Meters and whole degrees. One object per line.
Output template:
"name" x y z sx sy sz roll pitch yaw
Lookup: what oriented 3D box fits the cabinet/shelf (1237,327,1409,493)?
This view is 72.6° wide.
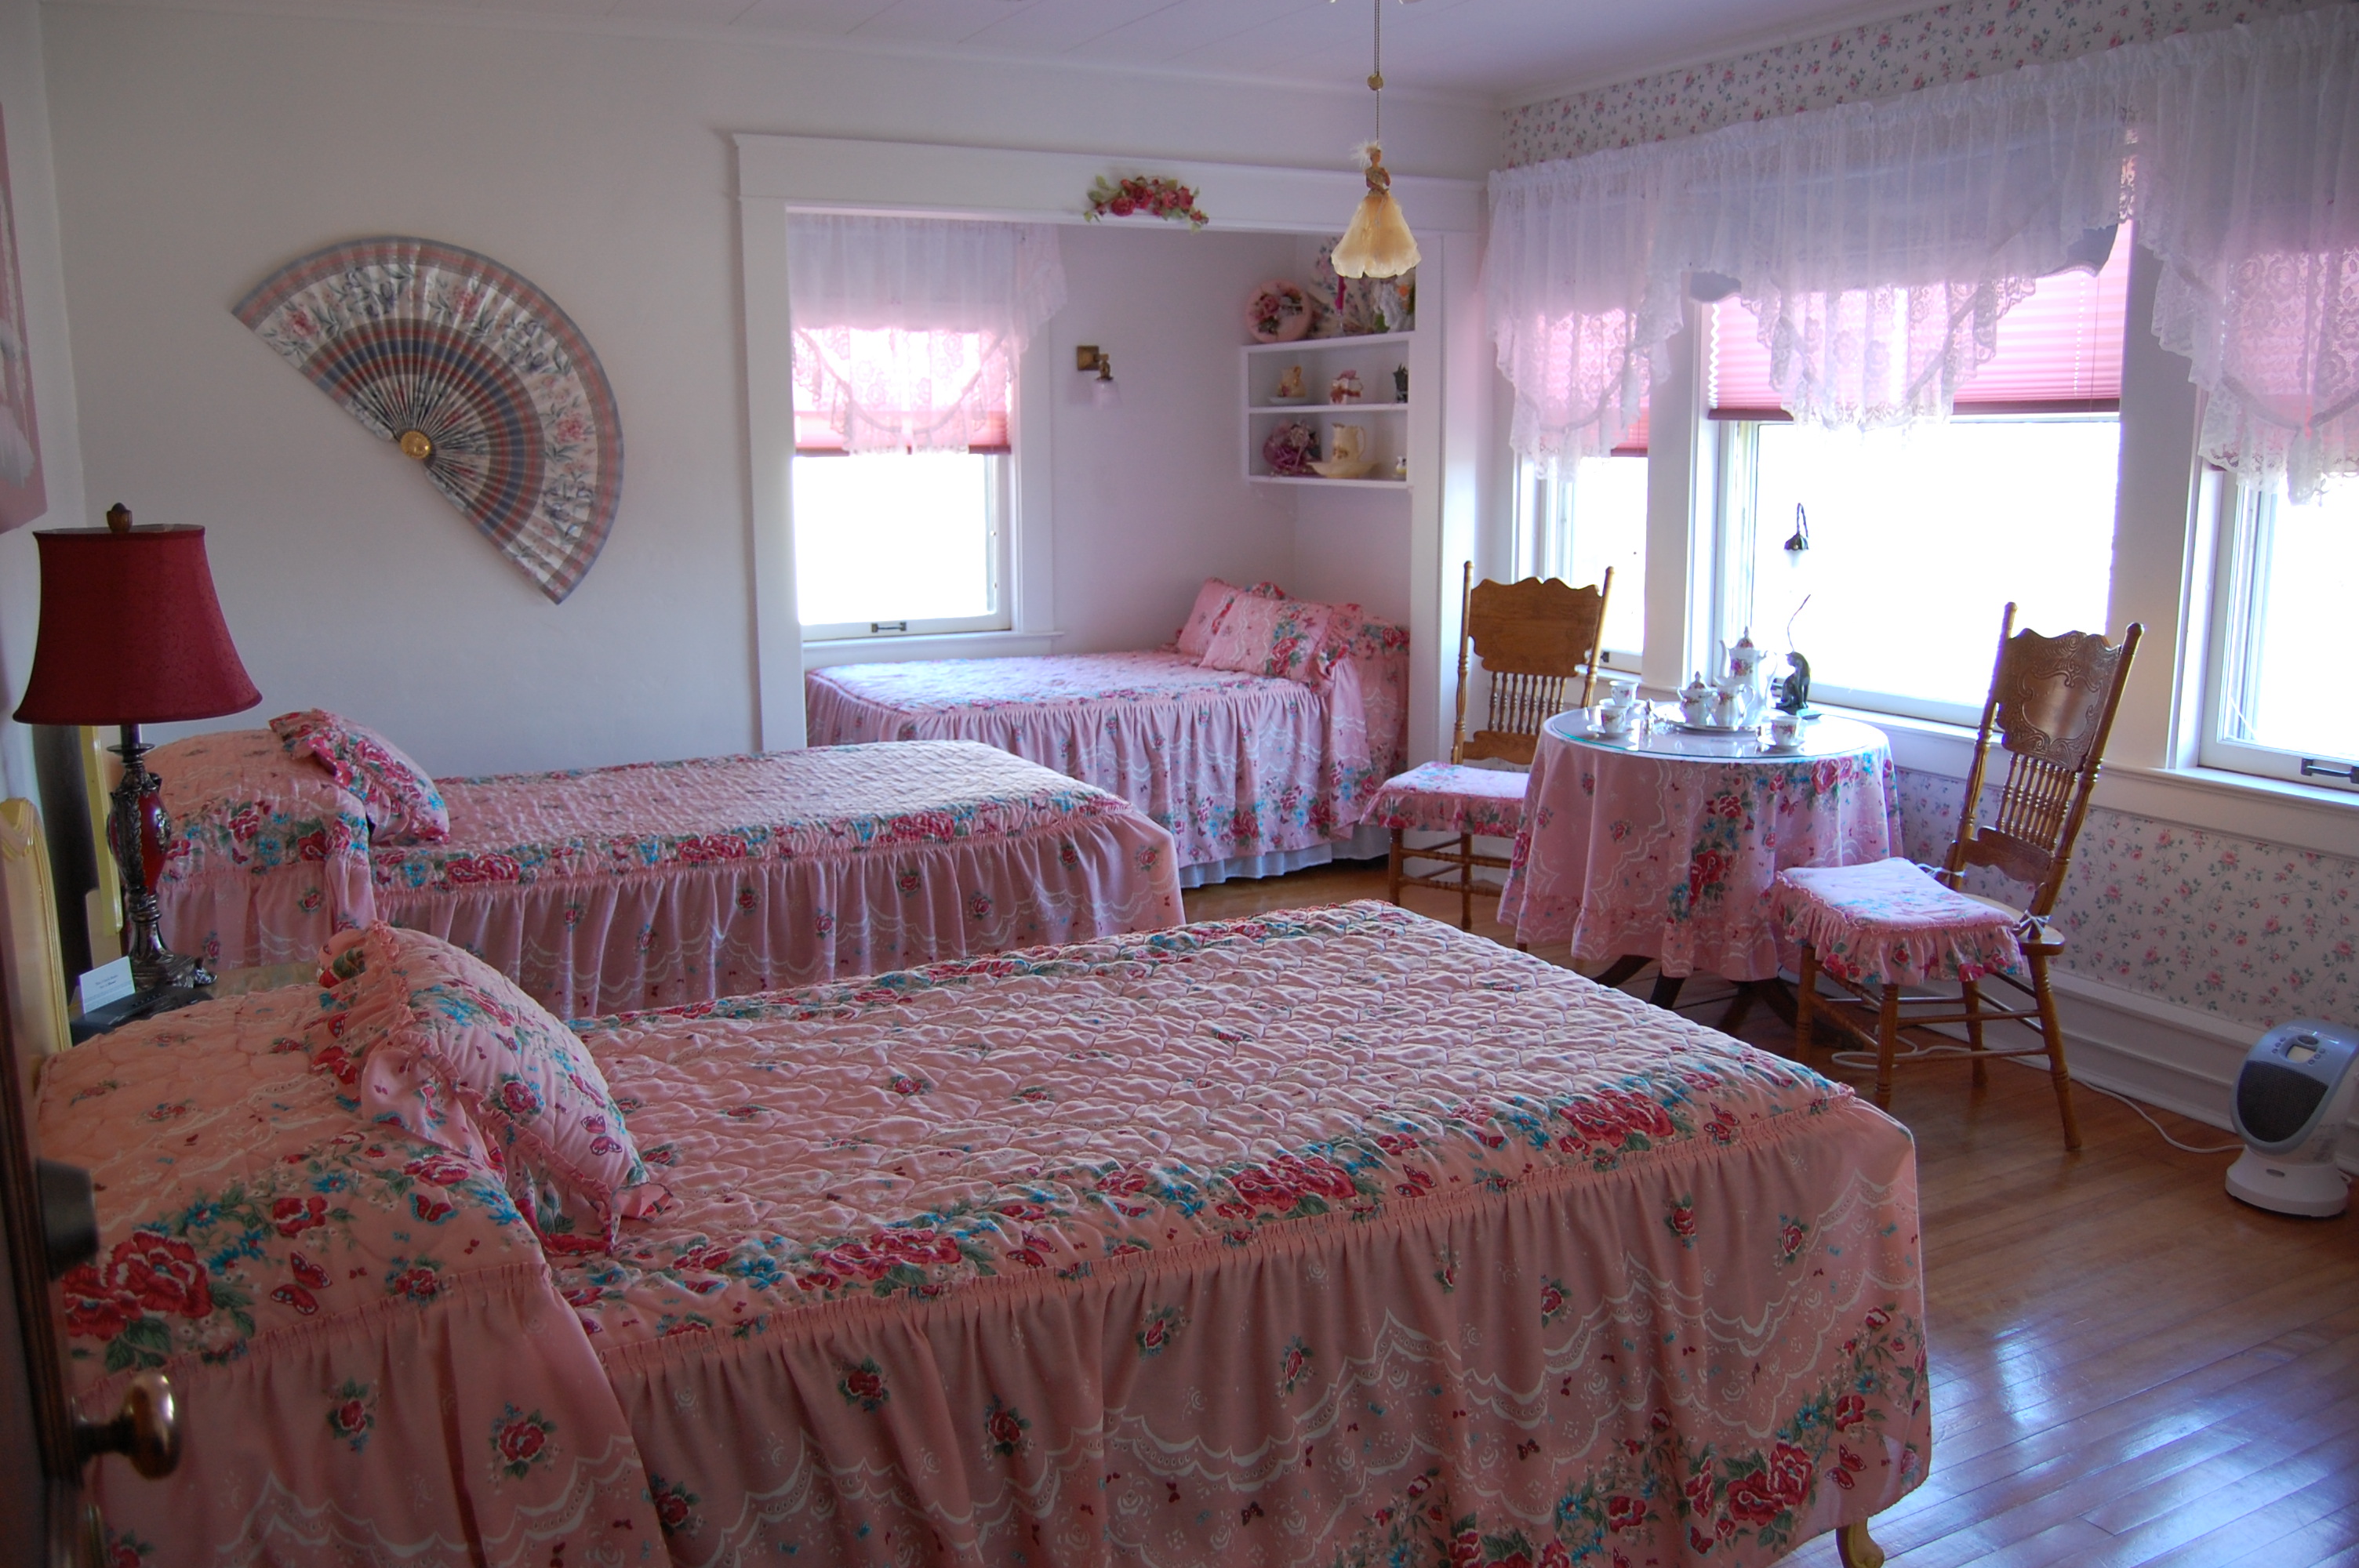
"cabinet/shelf" 0.652 -1.678 7.263 0.336 0.661 1.027 -6 14 -28

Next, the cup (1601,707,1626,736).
"cup" 1.343 -0.193 5.022 0.084 0.067 0.087 -1 6 0

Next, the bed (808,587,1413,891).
"bed" -0.152 -0.244 6.779 1.862 0.995 1.333 -2 9 -24

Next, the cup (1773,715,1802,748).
"cup" 1.818 -0.152 4.867 0.081 0.086 0.088 0 3 0

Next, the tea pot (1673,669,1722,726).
"tea pot" 1.645 -0.256 5.177 0.191 0.205 0.122 -3 5 -36
